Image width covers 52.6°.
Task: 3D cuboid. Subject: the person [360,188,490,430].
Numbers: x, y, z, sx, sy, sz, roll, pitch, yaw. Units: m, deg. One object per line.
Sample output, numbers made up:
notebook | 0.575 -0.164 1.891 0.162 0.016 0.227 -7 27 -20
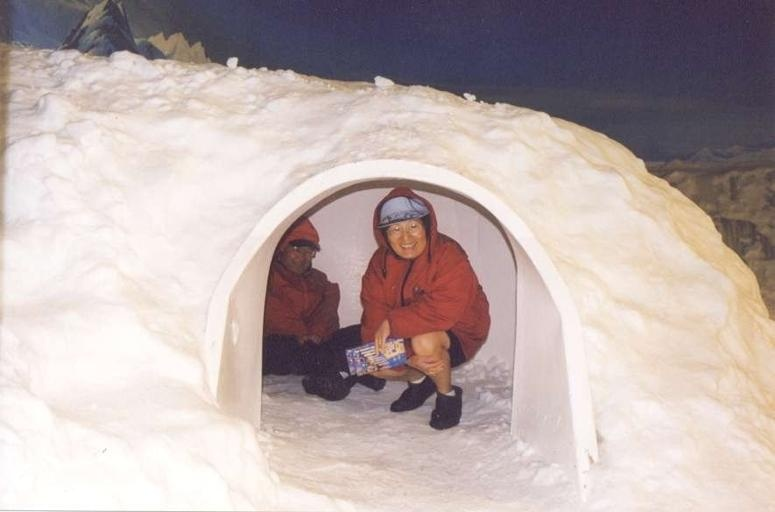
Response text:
person | 0.243 0.331 5.101 0.838 1.535 0.549 0 -13 -2

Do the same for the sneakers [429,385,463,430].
sneakers | 0.383 0.942 4.984 0.150 0.277 0.119 1 -52 26

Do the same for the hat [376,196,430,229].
hat | 0.085 -0.292 4.983 0.233 0.095 0.240 -28 -23 36

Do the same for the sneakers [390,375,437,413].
sneakers | 0.176 0.914 5.264 0.138 0.164 0.414 -9 2 45

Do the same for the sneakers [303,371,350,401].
sneakers | -0.422 0.867 5.285 0.245 0.093 0.191 -6 -9 42
